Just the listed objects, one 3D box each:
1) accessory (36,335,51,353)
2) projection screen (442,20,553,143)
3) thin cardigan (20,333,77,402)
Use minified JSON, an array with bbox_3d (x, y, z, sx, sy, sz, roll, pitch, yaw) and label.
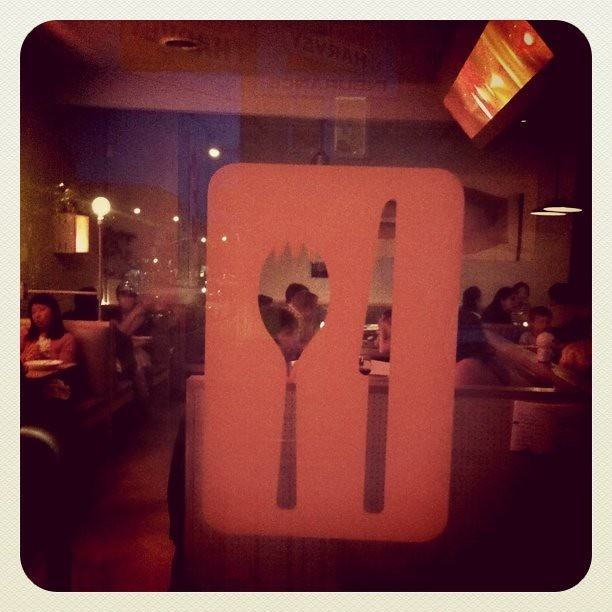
[{"bbox_3d":[-0.645,0.092,1.523,0.025,0.042,0.011,5,2,10],"label":"accessory"},{"bbox_3d":[0.461,-0.574,1.567,0.213,0.323,0.054,40,10,-9],"label":"projection screen"},{"bbox_3d":[-0.639,0.137,1.539,0.107,0.177,0.068,0,5,7],"label":"thin cardigan"}]
